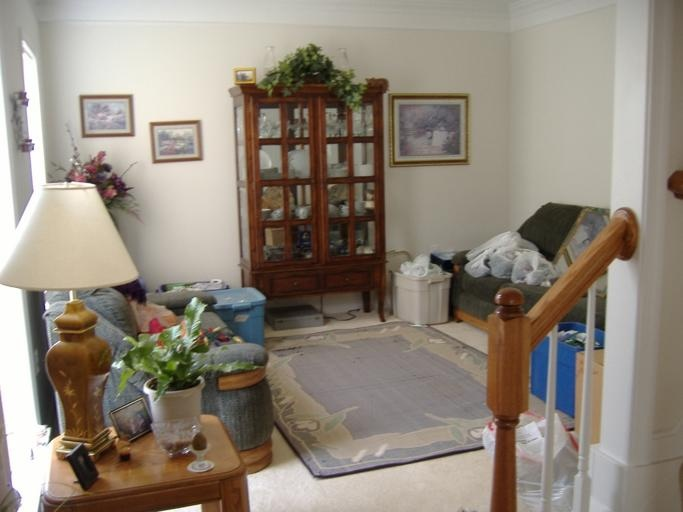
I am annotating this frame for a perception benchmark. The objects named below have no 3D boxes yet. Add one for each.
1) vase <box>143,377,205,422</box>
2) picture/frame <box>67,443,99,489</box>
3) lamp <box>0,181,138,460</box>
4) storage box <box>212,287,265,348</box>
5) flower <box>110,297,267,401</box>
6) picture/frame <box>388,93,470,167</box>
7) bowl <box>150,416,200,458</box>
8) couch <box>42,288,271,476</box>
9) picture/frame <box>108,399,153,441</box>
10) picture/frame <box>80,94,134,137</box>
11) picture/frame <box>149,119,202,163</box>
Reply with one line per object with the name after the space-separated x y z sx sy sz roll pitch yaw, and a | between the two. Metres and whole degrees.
-0.651 0.561 2.019 0.217 0.135 0.203 4 6 24 | vase
-0.909 0.747 1.850 0.015 0.137 0.110 -20 16 14 | picture/frame
-0.967 0.241 1.951 0.432 1.007 0.276 -9 16 -22 | lamp
-0.969 0.550 4.795 0.467 0.376 0.663 -6 11 -23 | storage box
-0.629 0.365 2.044 0.481 0.386 0.260 20 16 26 | flower
0.962 -1.373 5.727 1.040 0.765 0.032 11 23 40 | picture/frame
-0.616 0.667 1.976 0.187 0.111 0.151 -3 1 -17 | bowl
-1.207 0.590 3.626 1.169 0.956 2.027 -1 7 -17 | couch
-0.827 0.653 2.078 0.181 0.142 0.016 -29 -22 18 | picture/frame
-2.199 -1.308 4.881 0.486 0.352 0.036 -2 6 -21 | picture/frame
-1.622 -1.117 5.069 0.492 0.351 0.033 -4 7 -22 | picture/frame
